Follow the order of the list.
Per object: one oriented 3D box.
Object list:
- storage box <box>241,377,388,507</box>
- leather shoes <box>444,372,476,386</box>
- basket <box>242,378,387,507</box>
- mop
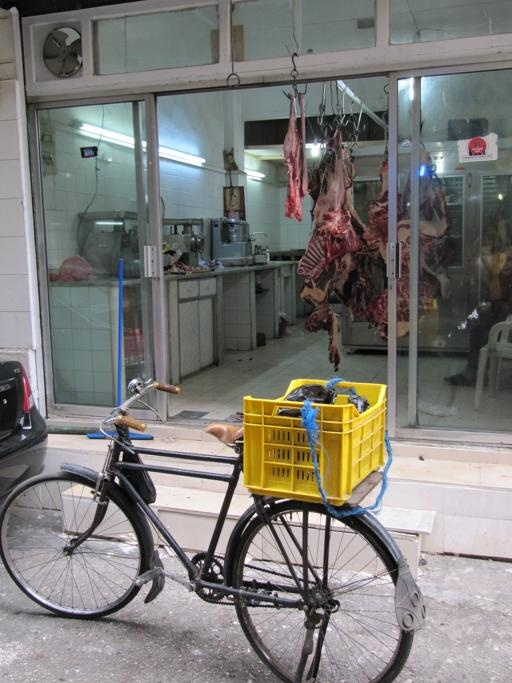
[{"bbox_3d":[0.185,0.288,1.723,0.341,0.313,0.440,3,9,29],"label":"storage box"},{"bbox_3d":[1.268,0.236,3.623,0.185,0.076,0.062,4,8,16],"label":"leather shoes"},{"bbox_3d":[0.211,0.225,1.727,0.438,0.327,0.484,2,6,25],"label":"basket"},{"bbox_3d":[-0.913,0.110,4.097,0.405,1.379,0.462,5,10,17],"label":"mop"}]
